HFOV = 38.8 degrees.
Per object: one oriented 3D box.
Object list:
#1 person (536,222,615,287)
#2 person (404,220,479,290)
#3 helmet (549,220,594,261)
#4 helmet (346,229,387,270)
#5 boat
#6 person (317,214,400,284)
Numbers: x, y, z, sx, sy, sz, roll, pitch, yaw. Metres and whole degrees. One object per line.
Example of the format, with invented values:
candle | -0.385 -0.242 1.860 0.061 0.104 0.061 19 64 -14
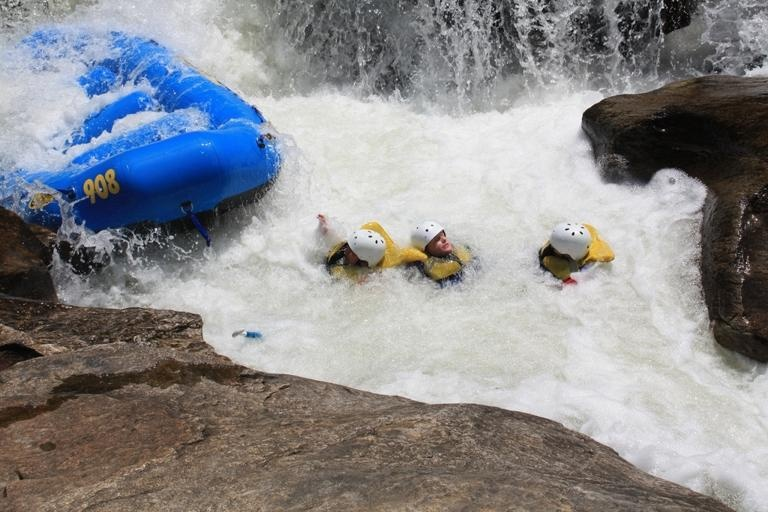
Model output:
person | 2.720 -0.013 15.921 1.116 0.363 0.783 -21 60 -16
person | 0.910 0.027 16.145 0.963 0.513 1.188 -15 59 -49
helmet | 2.738 -0.218 15.875 0.586 0.463 0.379 -5 45 9
helmet | -0.234 -0.127 15.851 0.601 0.434 0.406 15 41 -42
boat | -3.634 -2.042 16.793 3.896 1.818 4.280 -6 42 6
person | -0.368 -0.150 16.117 1.443 0.463 0.871 23 35 -1
